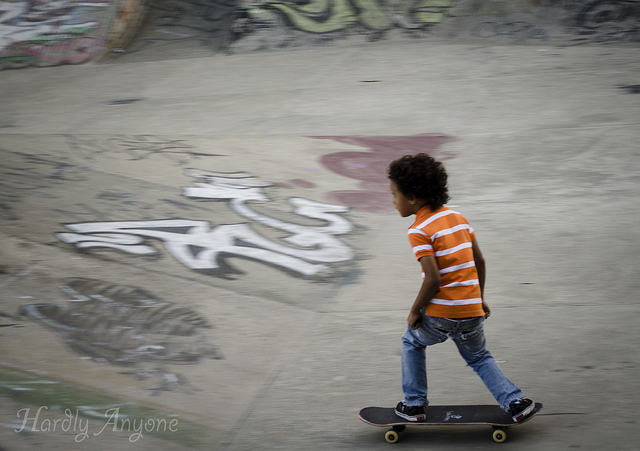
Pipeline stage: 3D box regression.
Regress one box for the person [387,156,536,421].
[{"bbox_3d":[1.372,0.652,7.536,1.378,2.745,0.465,0,7,1],"label":"person"}]
